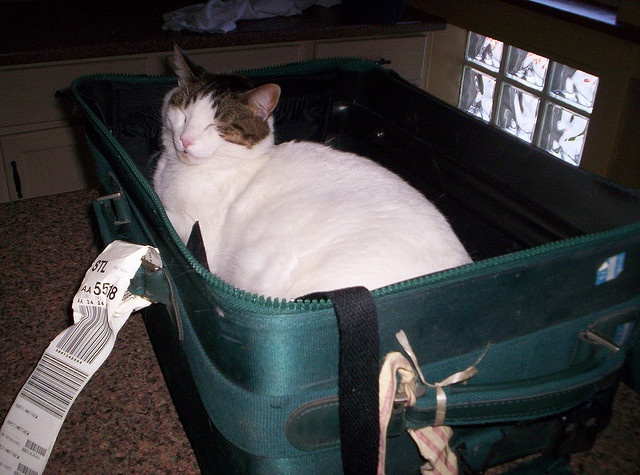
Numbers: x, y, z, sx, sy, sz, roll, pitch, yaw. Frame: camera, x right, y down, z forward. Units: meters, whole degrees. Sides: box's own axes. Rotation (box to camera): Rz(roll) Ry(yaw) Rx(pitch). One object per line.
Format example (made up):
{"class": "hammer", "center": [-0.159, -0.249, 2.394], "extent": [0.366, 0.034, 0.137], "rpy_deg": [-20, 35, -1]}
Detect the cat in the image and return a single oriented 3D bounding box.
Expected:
{"class": "cat", "center": [-0.093, -0.069, 1.093], "extent": [0.668, 0.324, 0.405], "rpy_deg": [20, 52, 20]}
